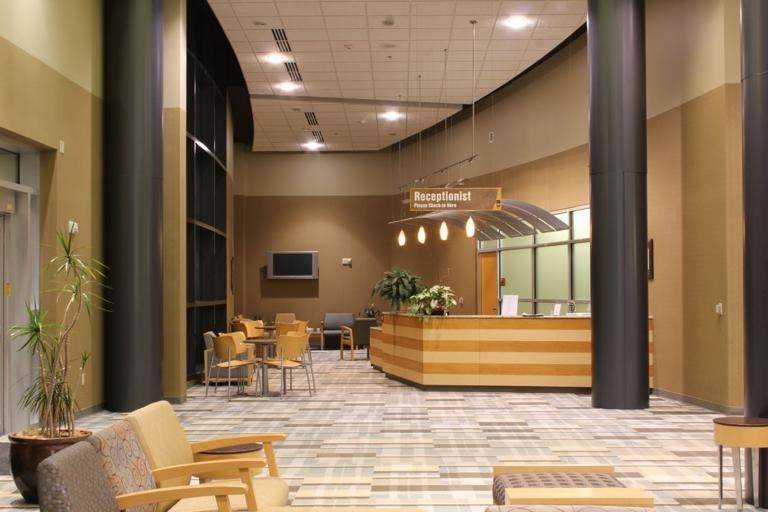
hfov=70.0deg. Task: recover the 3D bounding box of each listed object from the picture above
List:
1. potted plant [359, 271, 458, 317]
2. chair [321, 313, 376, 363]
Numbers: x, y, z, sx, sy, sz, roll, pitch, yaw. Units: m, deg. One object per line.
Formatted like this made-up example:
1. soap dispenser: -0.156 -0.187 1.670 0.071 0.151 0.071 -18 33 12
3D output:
1. potted plant: 0.540 0.851 12.794 1.722 0.881 1.320 2 -1 6
2. chair: -1.182 2.334 16.416 1.251 1.173 3.028 0 -1 -12
